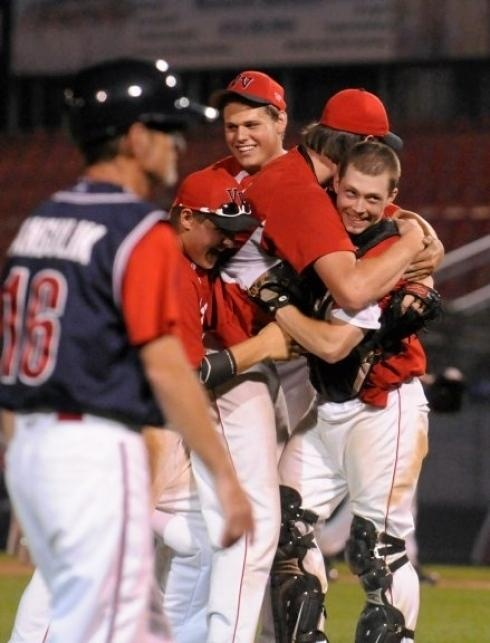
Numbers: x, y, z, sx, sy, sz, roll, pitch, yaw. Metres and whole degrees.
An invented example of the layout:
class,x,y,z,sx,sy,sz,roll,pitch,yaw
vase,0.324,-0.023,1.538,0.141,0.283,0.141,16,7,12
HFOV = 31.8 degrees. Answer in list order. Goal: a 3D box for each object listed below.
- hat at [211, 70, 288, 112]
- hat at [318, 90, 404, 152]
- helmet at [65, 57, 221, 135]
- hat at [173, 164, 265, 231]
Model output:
class,x,y,z,sx,sy,sz,roll,pitch,yaw
hat,0.013,-1.010,3.716,0.257,0.145,0.326,17,18,23
hat,0.429,-0.759,3.168,0.360,0.163,0.224,14,20,1
helmet,-0.212,-0.507,2.015,0.313,0.123,0.201,-7,1,4
hat,-0.075,-0.453,3.102,0.241,0.160,0.344,-17,39,-43
